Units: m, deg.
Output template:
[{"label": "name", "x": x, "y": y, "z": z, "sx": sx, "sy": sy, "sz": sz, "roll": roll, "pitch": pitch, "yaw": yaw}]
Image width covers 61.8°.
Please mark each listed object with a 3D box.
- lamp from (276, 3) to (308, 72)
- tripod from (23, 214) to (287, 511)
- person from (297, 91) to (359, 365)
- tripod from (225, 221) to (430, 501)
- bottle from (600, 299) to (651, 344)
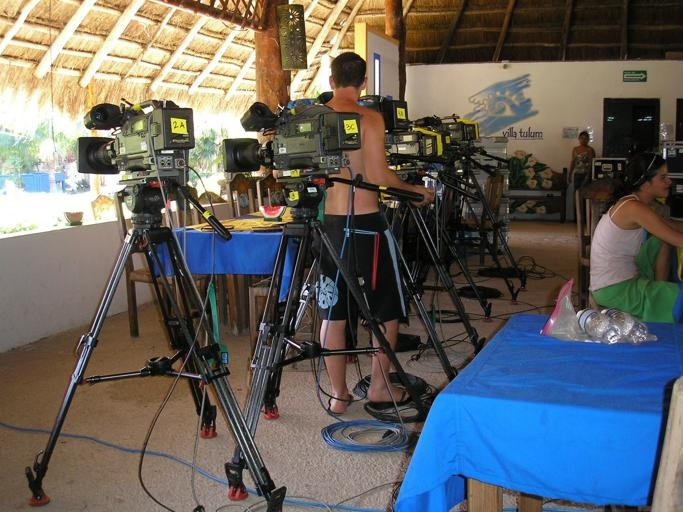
[{"label": "lamp", "x": -0.571, "y": -2.516, "z": 6.510, "sx": 0.335, "sy": 0.733, "sz": 0.273, "roll": -1, "pitch": 10, "yaw": 6}, {"label": "tripod", "x": -1.025, "y": 0.581, "z": 3.138, "sx": 0.948, "sy": 1.315, "sz": 0.901, "roll": 4, "pitch": 22, "yaw": 5}, {"label": "person", "x": -0.073, "y": -0.374, "z": 3.238, "sx": 0.335, "sy": 2.067, "sz": 0.286, "roll": -1, "pitch": -4, "yaw": -6}, {"label": "tripod", "x": -0.128, "y": 0.359, "z": 2.745, "sx": 0.831, "sy": 1.235, "sz": 0.869, "roll": -1, "pitch": 8, "yaw": -9}, {"label": "bottle", "x": 0.981, "y": 0.232, "z": 2.074, "sx": 0.117, "sy": 0.084, "sz": 0.196, "roll": -8, "pitch": 24, "yaw": 15}]
